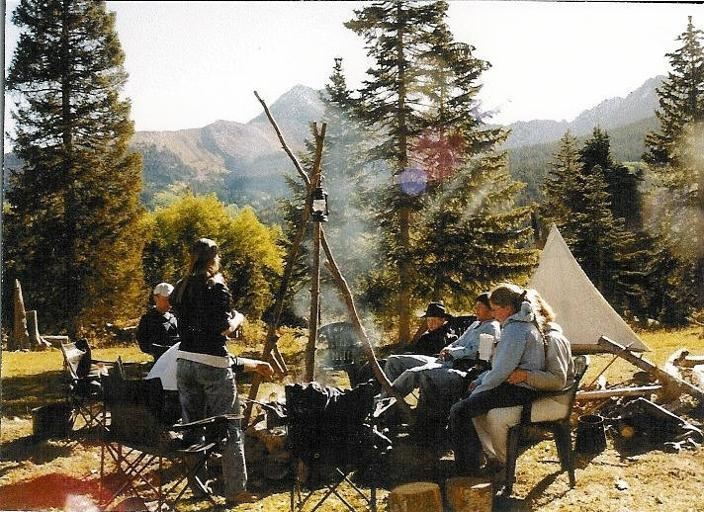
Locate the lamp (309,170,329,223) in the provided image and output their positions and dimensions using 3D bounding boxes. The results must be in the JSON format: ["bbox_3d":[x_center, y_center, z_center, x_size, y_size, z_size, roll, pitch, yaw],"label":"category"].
[{"bbox_3d":[-0.633,-1.124,16.731,0.325,0.976,0.629,-5,-5,-3],"label":"lamp"}]

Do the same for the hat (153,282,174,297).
[{"bbox_3d":[-3.506,0.622,16.477,0.428,0.278,0.330,-12,-9,44],"label":"hat"}]

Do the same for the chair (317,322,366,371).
[{"bbox_3d":[-0.211,1.818,17.999,0.868,0.965,0.453,-5,-5,-5],"label":"chair"}]

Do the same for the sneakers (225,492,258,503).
[{"bbox_3d":[-1.868,4.130,14.933,0.539,0.262,0.204,-1,-4,-5],"label":"sneakers"}]

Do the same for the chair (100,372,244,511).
[{"bbox_3d":[-3.400,3.208,15.792,2.621,3.306,2.221,-3,-4,44],"label":"chair"}]

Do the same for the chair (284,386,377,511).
[{"bbox_3d":[-0.474,3.220,15.492,1.692,3.350,1.890,0,-4,-2],"label":"chair"}]

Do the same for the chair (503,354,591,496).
[{"bbox_3d":[3.407,2.962,15.924,1.668,2.340,1.637,-2,6,-9],"label":"chair"}]

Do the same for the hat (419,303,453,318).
[{"bbox_3d":[1.848,1.173,19.122,0.581,0.300,0.736,-1,-2,9],"label":"hat"}]
